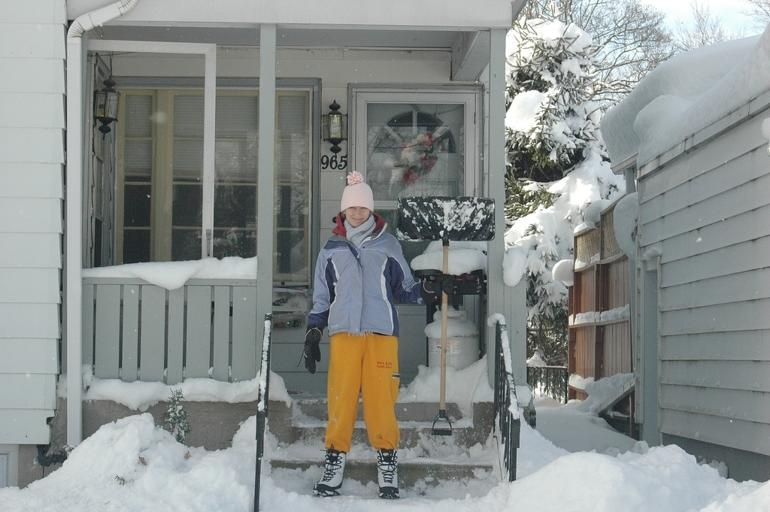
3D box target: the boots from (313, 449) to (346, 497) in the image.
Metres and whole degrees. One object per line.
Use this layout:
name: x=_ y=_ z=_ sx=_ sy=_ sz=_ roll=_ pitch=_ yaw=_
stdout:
boots: x=-0.469 y=1.908 z=8.945 sx=0.150 sy=0.341 sz=0.474 roll=-12 pitch=-7 yaw=24

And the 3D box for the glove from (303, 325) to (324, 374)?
glove: x=-0.670 y=0.809 z=8.983 sx=0.100 sy=0.401 sz=0.232 roll=0 pitch=-31 yaw=11

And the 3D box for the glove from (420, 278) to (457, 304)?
glove: x=0.466 y=0.301 z=9.323 sx=0.186 sy=0.180 sz=0.280 roll=3 pitch=-9 yaw=-2

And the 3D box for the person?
person: x=-0.216 y=0.662 z=9.039 sx=0.959 sy=2.814 sz=0.377 roll=1 pitch=-3 yaw=3

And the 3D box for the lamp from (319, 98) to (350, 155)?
lamp: x=-0.549 y=-1.385 z=11.284 sx=0.250 sy=0.626 sz=0.211 roll=-1 pitch=-4 yaw=12

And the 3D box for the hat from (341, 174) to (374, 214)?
hat: x=-0.250 y=-0.577 z=9.326 sx=0.231 sy=0.301 sz=0.350 roll=2 pitch=13 yaw=1

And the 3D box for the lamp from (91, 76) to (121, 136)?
lamp: x=-2.845 y=-1.508 z=10.472 sx=0.207 sy=0.604 sz=0.211 roll=6 pitch=4 yaw=13
